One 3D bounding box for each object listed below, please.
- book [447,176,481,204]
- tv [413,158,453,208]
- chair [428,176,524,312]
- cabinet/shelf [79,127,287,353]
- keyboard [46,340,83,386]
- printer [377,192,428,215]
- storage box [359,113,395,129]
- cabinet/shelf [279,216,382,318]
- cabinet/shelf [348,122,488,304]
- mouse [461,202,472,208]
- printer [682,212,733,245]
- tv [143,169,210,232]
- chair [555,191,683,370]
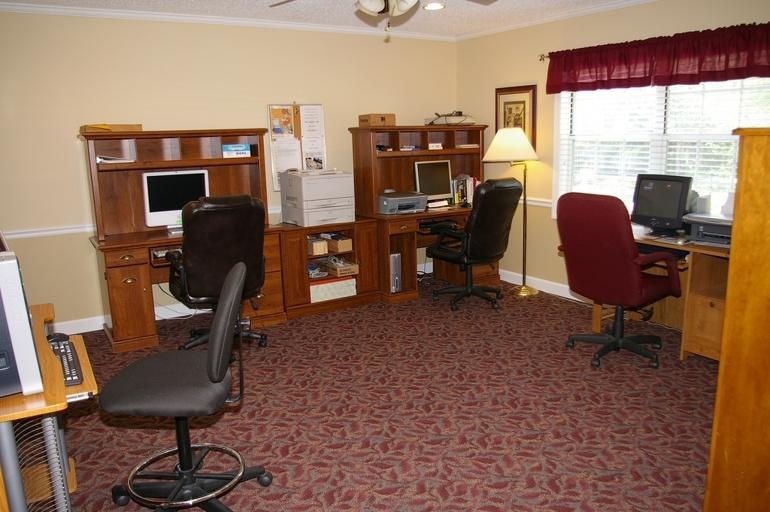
[{"bbox_3d":[0.985,-0.825,6.759,0.309,0.505,0.395,-7,15,-27],"label":"book"},{"bbox_3d":[0.598,-0.921,6.836,0.726,0.647,0.248,-5,5,-30],"label":"tv"},{"bbox_3d":[1.029,-0.144,6.097,0.968,1.510,0.705,4,17,23],"label":"chair"},{"bbox_3d":[-2.086,-0.143,5.279,2.304,2.374,0.920,-8,14,-32],"label":"cabinet/shelf"},{"bbox_3d":[-1.858,0.526,3.077,0.132,0.408,0.037,-10,1,-10],"label":"keyboard"},{"bbox_3d":[0.215,-0.622,6.387,0.327,0.137,0.421,-10,15,-39],"label":"printer"},{"bbox_3d":[-0.137,-1.592,6.446,0.274,0.103,0.261,-6,13,-27],"label":"storage box"},{"bbox_3d":[-0.659,0.127,6.092,1.151,0.894,0.426,-8,11,-33],"label":"cabinet/shelf"},{"bbox_3d":[0.358,-0.510,6.501,2.208,2.398,1.008,-8,13,-33],"label":"cabinet/shelf"},{"bbox_3d":[1.056,-0.660,6.909,0.176,0.066,0.058,-13,18,-37],"label":"mouse"},{"bbox_3d":[2.824,-0.235,4.673,0.519,0.233,0.398,8,13,44],"label":"printer"},{"bbox_3d":[-2.126,-0.562,5.382,0.700,0.568,0.234,-7,15,-31],"label":"tv"},{"bbox_3d":[2.023,0.199,4.717,1.004,1.560,0.574,1,16,11],"label":"chair"}]
